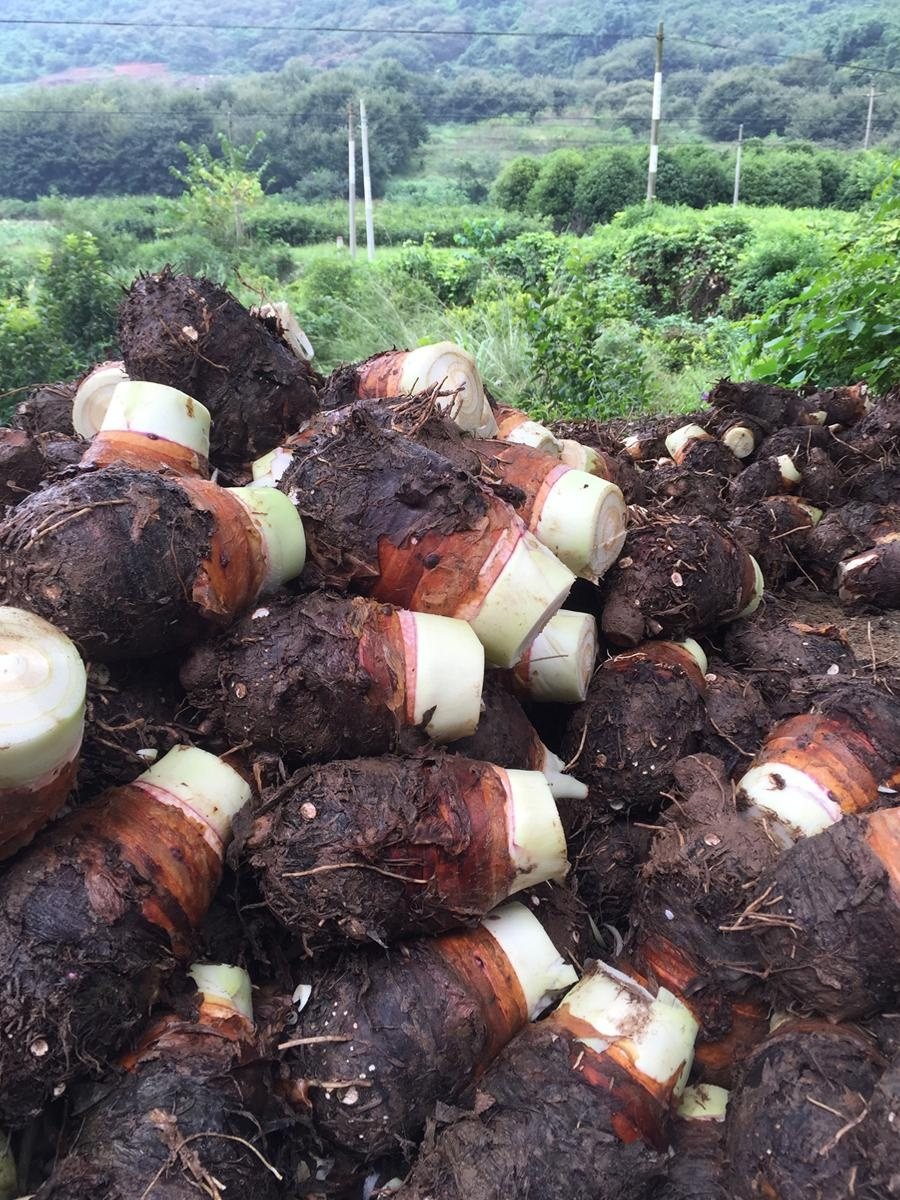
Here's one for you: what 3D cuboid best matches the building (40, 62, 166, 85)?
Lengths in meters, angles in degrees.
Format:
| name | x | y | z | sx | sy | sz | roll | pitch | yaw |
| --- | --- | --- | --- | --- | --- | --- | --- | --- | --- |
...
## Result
| name | x | y | z | sx | sy | sz | roll | pitch | yaw |
| --- | --- | --- | --- | --- | --- | --- | --- | --- | --- |
| building | -14.325 | -22.393 | 41.786 | 4.547 | 0.757 | 6.054 | 9 | 28 | 15 |
